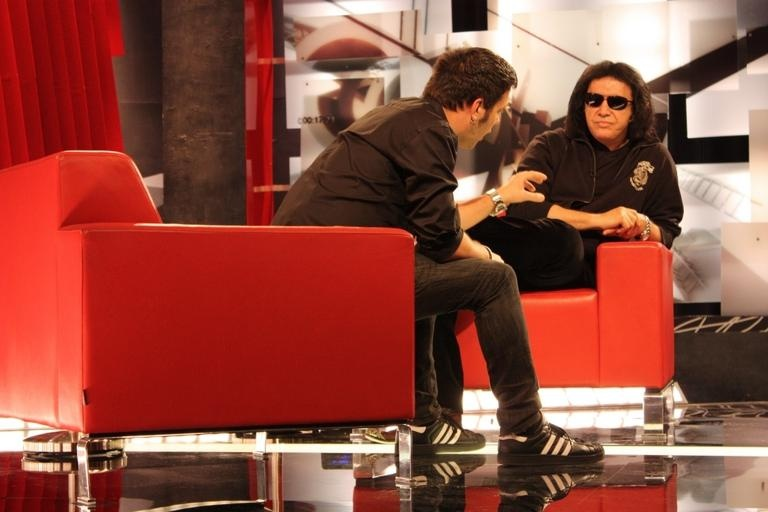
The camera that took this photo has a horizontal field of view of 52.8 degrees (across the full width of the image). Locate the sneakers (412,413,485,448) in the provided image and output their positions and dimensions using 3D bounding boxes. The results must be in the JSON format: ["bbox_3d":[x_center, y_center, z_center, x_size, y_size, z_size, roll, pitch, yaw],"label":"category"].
[{"bbox_3d":[0.240,0.663,2.964,0.326,0.130,0.112,2,-3,-16],"label":"sneakers"}]

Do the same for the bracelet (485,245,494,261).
[{"bbox_3d":[0.386,-0.005,2.835,0.031,0.039,0.016,-7,-16,-15],"label":"bracelet"}]

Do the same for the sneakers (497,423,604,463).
[{"bbox_3d":[0.579,0.671,2.789,0.387,0.143,0.139,0,-4,-5],"label":"sneakers"}]

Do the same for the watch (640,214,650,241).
[{"bbox_3d":[1.115,-0.124,3.301,0.041,0.081,0.106,-1,-1,19],"label":"watch"}]

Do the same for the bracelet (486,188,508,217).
[{"bbox_3d":[0.421,-0.200,2.896,0.067,0.105,0.106,-17,33,-19],"label":"bracelet"}]
